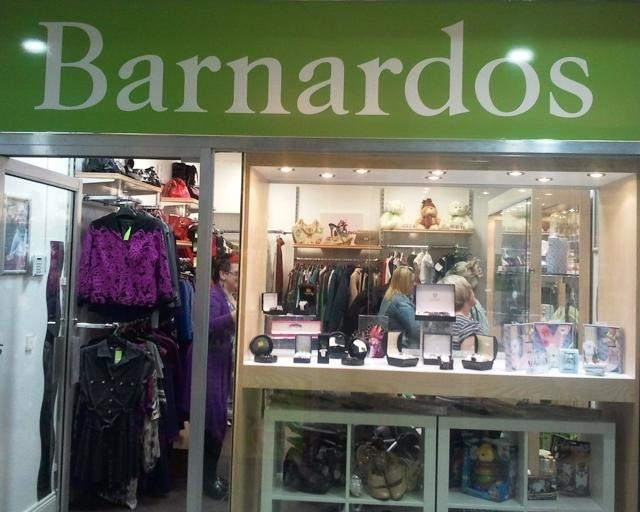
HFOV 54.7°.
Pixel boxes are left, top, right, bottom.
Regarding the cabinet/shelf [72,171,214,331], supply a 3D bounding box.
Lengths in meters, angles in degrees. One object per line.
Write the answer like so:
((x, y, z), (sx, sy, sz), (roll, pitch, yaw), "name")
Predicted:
((-1.312, -0.053, 4.225), (0.630, 1.015, 0.725), (4, -3, -23), "cabinet/shelf")

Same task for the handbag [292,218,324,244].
((-0.060, -0.117, 3.091), (0.109, 0.108, 0.033), (-1, -25, 3), "handbag")

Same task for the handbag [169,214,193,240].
((-1.151, -0.244, 5.086), (0.177, 0.246, 0.082), (5, -19, -29), "handbag")

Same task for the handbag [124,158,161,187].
((-1.353, -0.619, 4.667), (0.222, 0.103, 0.297), (14, -8, 31), "handbag")

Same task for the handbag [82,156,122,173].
((-1.537, -0.616, 4.293), (0.271, 0.099, 0.107), (2, -3, 11), "handbag")

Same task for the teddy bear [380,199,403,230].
((0.362, -0.197, 3.114), (0.101, 0.143, 0.067), (5, -16, 11), "teddy bear")
